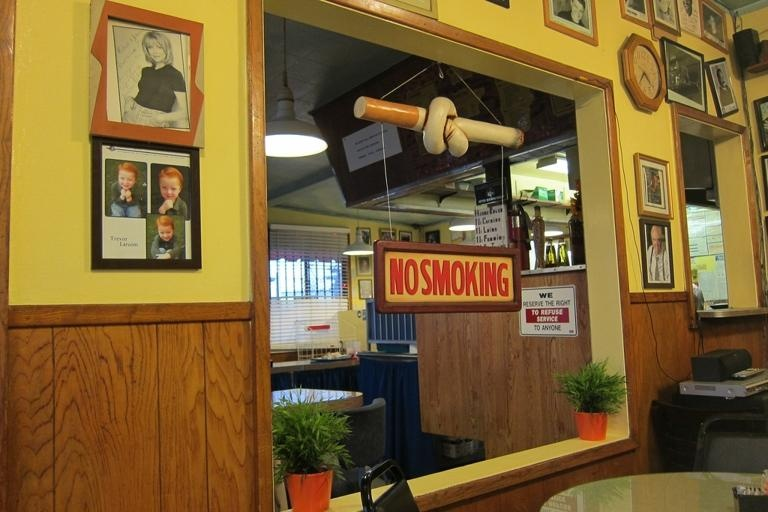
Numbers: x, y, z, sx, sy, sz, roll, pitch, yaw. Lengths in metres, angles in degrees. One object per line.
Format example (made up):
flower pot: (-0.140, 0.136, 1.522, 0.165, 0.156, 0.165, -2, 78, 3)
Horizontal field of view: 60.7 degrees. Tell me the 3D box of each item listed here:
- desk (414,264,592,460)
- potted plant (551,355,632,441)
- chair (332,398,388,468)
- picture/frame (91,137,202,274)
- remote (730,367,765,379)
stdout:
desk: (0.798, 0.514, 4.719, 1.191, 1.165, 0.634, -6, 27, 6)
potted plant: (1.181, 0.820, 3.876, 0.436, 0.477, 0.430, 2, -7, -12)
chair: (-0.175, 1.275, 4.668, 0.457, 0.472, 0.362, -4, 1, -36)
picture/frame: (-0.987, -0.198, 2.669, 0.537, 0.671, 0.046, 1, -4, -28)
remote: (2.248, 0.721, 4.033, 0.288, 0.033, 0.090, -6, 5, -37)
